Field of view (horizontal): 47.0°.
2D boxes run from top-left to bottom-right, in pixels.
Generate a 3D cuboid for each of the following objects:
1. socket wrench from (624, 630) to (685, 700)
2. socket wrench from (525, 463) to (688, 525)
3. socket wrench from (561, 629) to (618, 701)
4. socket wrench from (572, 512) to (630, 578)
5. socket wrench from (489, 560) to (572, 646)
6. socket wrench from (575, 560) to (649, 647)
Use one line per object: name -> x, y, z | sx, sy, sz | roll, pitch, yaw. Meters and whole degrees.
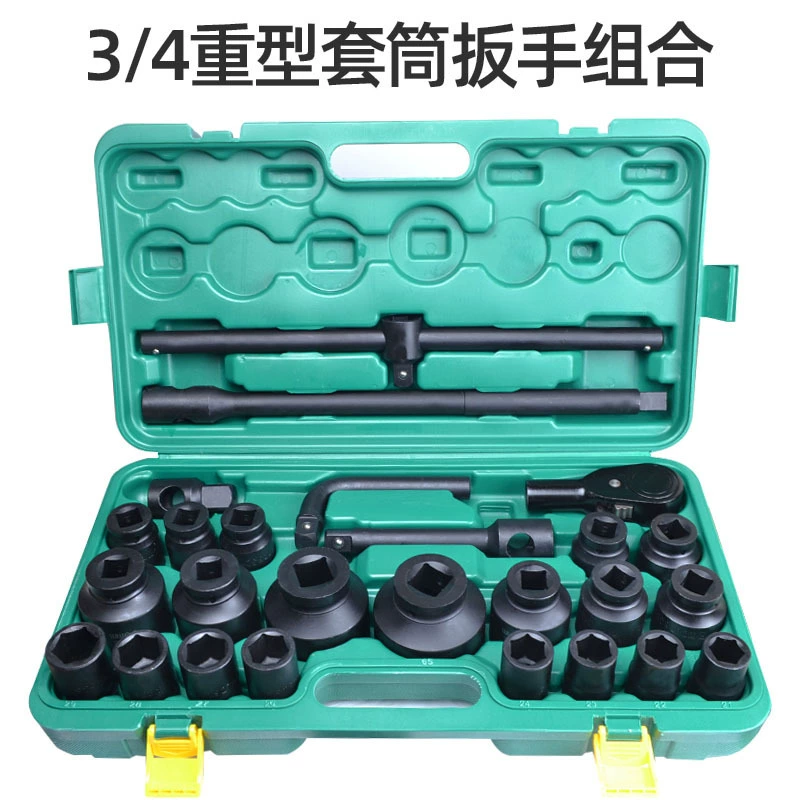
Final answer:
socket wrench -> 0.625, 0.651, 2.240 | 0.132, 0.119, 0.172 | -3, -55, -4
socket wrench -> 0.643, 0.284, 2.843 | 0.444, 0.202, 0.093 | -2, -65, 6
socket wrench -> 0.464, 0.650, 2.238 | 0.146, 0.134, 0.189 | -1, -61, -3
socket wrench -> 0.578, 0.429, 2.663 | 0.164, 0.155, 0.144 | 11, -54, 11
socket wrench -> 0.341, 0.554, 2.400 | 0.213, 0.220, 0.163 | -4, -49, 3
socket wrench -> 0.572, 0.542, 2.439 | 0.179, 0.176, 0.180 | -24, -51, -26
